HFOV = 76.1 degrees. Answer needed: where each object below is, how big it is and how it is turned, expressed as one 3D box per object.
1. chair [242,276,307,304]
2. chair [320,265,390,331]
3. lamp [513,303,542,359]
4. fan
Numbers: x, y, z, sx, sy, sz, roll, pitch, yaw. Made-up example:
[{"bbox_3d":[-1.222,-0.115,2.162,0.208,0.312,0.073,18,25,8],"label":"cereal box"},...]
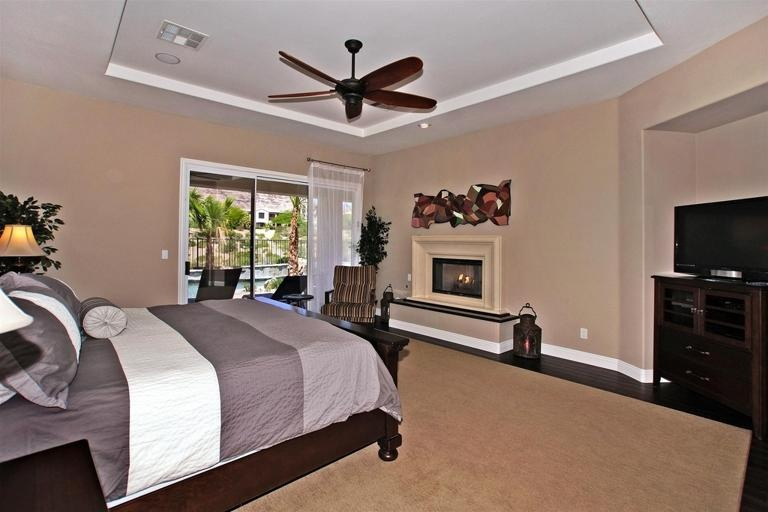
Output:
[{"bbox_3d":[-1.542,0.509,7.918,0.285,0.345,0.856,9,15,34],"label":"chair"},{"bbox_3d":[-0.487,0.627,7.461,0.762,0.983,0.862,2,1,8],"label":"chair"},{"bbox_3d":[1.879,0.943,6.401,0.352,0.682,0.255,5,17,28],"label":"lamp"},{"bbox_3d":[-0.280,-1.869,5.244,1.553,0.799,1.807,0,12,-5],"label":"fan"}]
